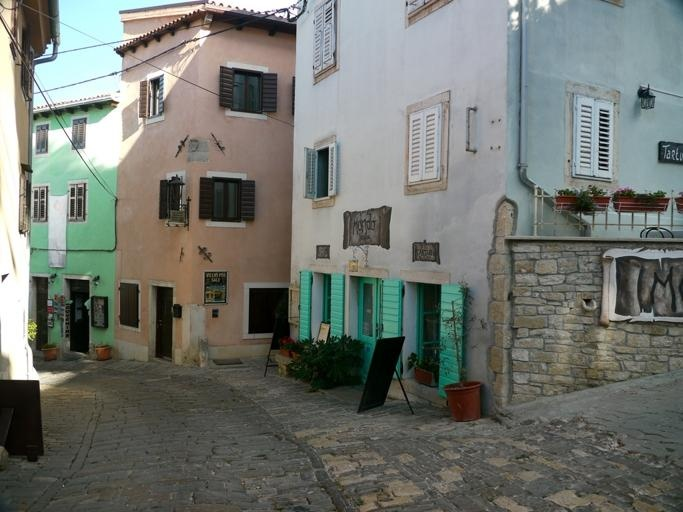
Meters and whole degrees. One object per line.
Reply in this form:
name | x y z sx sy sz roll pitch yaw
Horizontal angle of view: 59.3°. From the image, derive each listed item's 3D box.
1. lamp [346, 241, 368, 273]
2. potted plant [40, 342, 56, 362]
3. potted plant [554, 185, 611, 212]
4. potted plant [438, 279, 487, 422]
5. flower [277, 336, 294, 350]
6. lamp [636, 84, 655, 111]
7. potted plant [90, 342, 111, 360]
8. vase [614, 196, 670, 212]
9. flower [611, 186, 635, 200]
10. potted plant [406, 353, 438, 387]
lamp | 0.345 0.068 12.845 0.133 0.590 0.703 -4 4 -29
potted plant | -10.104 3.325 20.654 0.458 0.539 0.525 0 1 3
potted plant | 3.997 -0.902 9.937 0.671 0.313 0.510 0 0 -12
potted plant | 2.009 1.582 10.155 0.694 2.150 1.091 -1 4 8
flower | -1.363 2.105 14.477 0.312 0.332 0.319 -2 6 -36
lamp | 5.706 -2.972 11.115 0.398 0.454 0.236 -4 5 -32
potted plant | -7.672 3.032 19.049 0.485 0.393 0.507 0 -2 -17
vase | 5.112 -0.868 10.249 0.937 0.265 0.198 -2 4 0
flower | 4.830 -1.053 10.304 0.266 0.142 0.282 2 3 8
potted plant | 1.562 2.201 11.473 0.506 0.436 0.576 3 1 -31
